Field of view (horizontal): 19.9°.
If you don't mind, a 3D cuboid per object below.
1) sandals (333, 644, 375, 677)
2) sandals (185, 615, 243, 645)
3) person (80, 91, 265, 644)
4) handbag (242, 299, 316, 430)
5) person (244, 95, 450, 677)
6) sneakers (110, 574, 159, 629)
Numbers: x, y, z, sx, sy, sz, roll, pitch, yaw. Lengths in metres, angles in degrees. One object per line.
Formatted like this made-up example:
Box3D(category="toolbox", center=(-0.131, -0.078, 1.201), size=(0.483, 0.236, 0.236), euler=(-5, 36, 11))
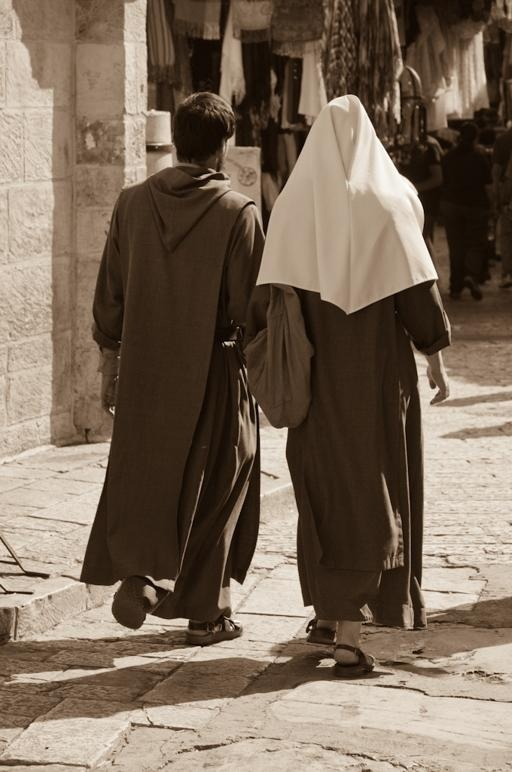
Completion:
Box3D(category="sandals", center=(0.312, 0.880, 4.743), size=(0.130, 0.094, 0.072), euler=(-4, 6, -36))
Box3D(category="sandals", center=(-0.149, 0.825, 5.094), size=(0.183, 0.088, 0.084), euler=(-6, 10, -40))
Box3D(category="person", center=(-0.284, -0.018, 4.955), size=(0.704, 1.871, 0.605), euler=(-9, 9, -17))
Box3D(category="handbag", center=(0.077, -0.128, 4.722), size=(0.204, 0.532, 0.147), euler=(-2, 26, 2))
Box3D(category="person", center=(0.312, 0.008, 4.728), size=(0.668, 1.845, 0.391), euler=(-6, 9, -1))
Box3D(category="sneakers", center=(-0.396, 0.688, 4.750), size=(0.098, 0.081, 0.187), euler=(26, 23, -4))
